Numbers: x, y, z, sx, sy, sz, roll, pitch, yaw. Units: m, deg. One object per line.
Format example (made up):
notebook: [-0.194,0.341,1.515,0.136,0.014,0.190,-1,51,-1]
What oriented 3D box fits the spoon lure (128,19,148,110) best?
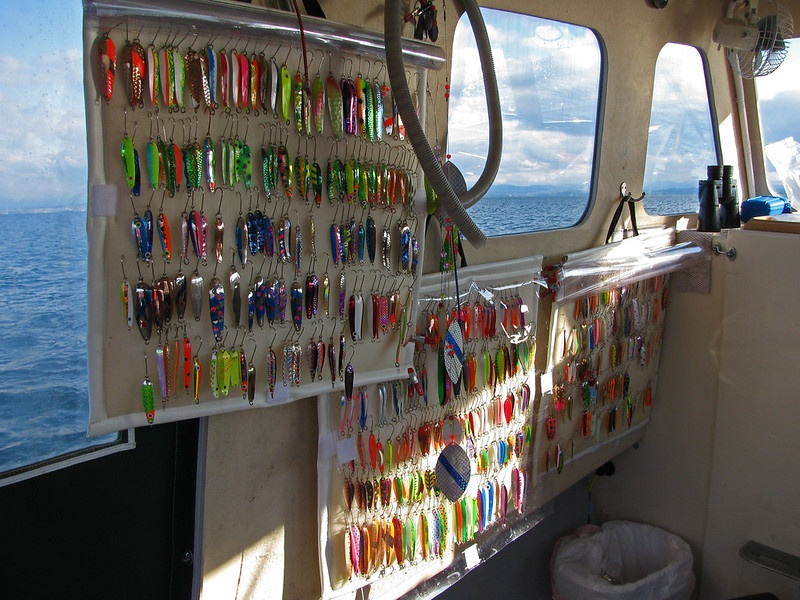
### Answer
spoon lure: [-0.774,-0.702,2.064,0.059,0.231,0.041,-3,8,-40]

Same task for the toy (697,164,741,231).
toy: [1.691,-0.552,3.781,0.272,0.347,0.092,-5,7,-34]

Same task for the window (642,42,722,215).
window: [1.564,-0.962,3.854,0.551,0.886,0.019,-27,28,-32]

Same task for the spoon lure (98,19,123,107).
spoon lure: [-0.854,-0.683,2.045,0.067,0.210,0.019,-7,11,-28]
